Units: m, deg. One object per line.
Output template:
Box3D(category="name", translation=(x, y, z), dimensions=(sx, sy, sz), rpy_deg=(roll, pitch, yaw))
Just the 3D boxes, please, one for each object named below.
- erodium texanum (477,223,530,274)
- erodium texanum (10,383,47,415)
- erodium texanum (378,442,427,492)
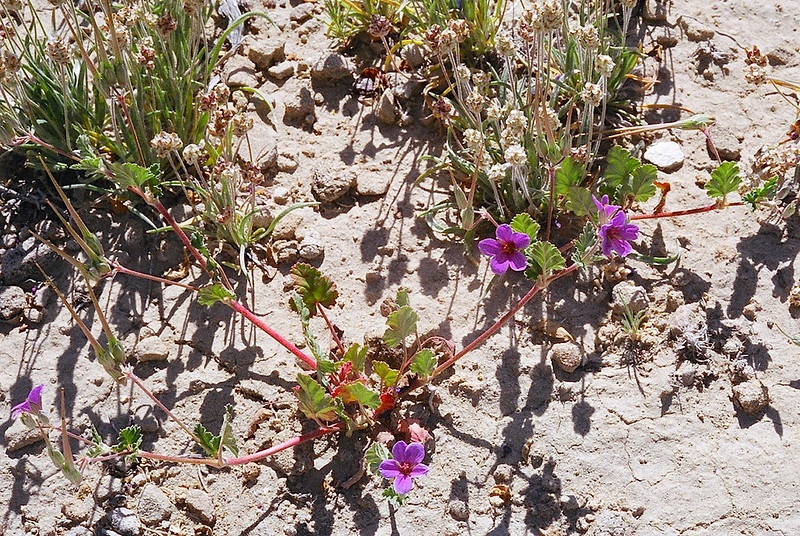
Box3D(category="erodium texanum", translation=(0.582, -0.100, 4.490), dimensions=(0.240, 0.267, 0.214), rpy_deg=(26, 40, 30))
Box3D(category="erodium texanum", translation=(-1.887, 0.676, 4.237), dimensions=(0.132, 0.154, 0.209), rpy_deg=(-10, 37, -18))
Box3D(category="erodium texanum", translation=(0.024, 1.017, 4.258), dimensions=(0.278, 0.125, 0.329), rpy_deg=(-2, 26, -5))
